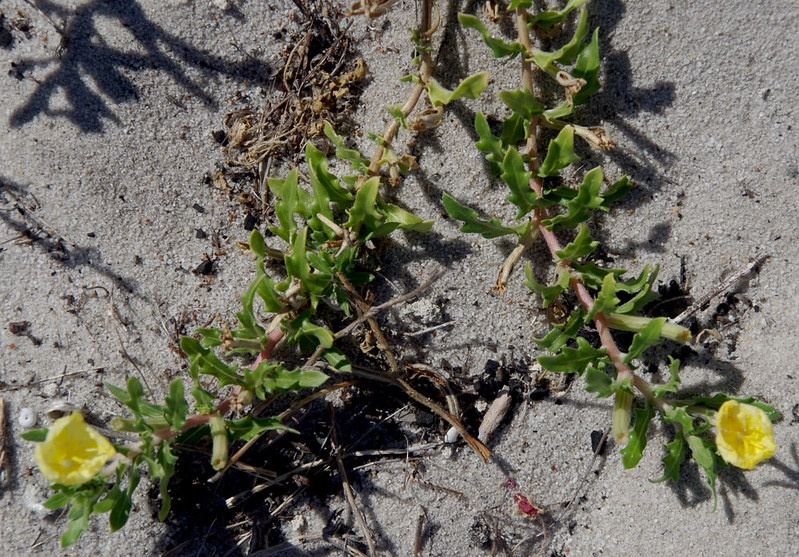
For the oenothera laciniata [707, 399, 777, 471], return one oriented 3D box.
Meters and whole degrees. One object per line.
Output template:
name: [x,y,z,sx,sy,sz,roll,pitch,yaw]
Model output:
oenothera laciniata: [1.688,0.768,4.052,0.292,0.090,0.304,13,85,0]
